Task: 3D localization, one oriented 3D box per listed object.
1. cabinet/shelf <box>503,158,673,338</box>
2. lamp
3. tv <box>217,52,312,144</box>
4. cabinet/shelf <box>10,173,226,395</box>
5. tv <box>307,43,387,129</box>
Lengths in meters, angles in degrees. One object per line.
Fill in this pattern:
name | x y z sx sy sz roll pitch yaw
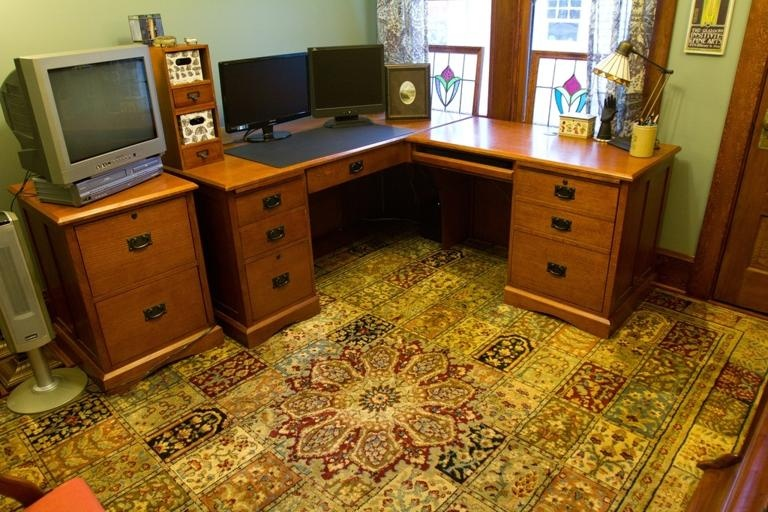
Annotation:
cabinet/shelf | 1.339 -0.172 3.499 0.889 1.000 0.947 12 26 31
lamp | 1.571 -1.012 3.302 0.561 0.644 0.343 21 50 29
tv | -0.810 -1.053 3.500 0.190 0.436 0.643 25 38 35
cabinet/shelf | -1.485 0.146 2.898 0.804 1.053 0.807 25 37 36
tv | -0.270 -1.208 3.753 0.617 0.518 0.225 -8 34 -13
